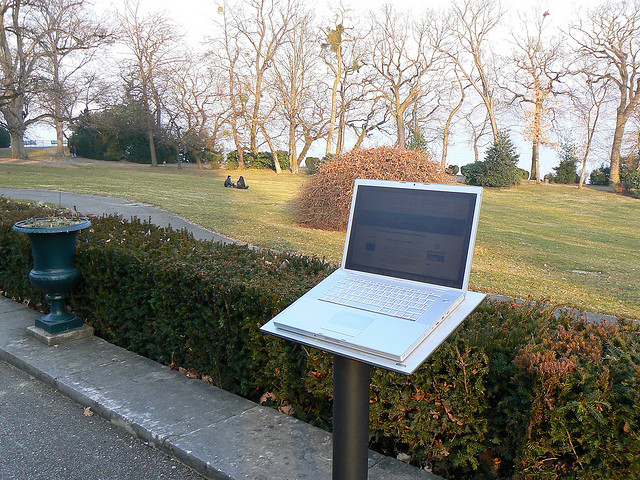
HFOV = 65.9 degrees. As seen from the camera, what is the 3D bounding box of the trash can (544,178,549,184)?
[{"bbox_3d":[22.347,-5.982,48.616,0.277,0.324,0.959,9,10,24],"label":"trash can"}]
